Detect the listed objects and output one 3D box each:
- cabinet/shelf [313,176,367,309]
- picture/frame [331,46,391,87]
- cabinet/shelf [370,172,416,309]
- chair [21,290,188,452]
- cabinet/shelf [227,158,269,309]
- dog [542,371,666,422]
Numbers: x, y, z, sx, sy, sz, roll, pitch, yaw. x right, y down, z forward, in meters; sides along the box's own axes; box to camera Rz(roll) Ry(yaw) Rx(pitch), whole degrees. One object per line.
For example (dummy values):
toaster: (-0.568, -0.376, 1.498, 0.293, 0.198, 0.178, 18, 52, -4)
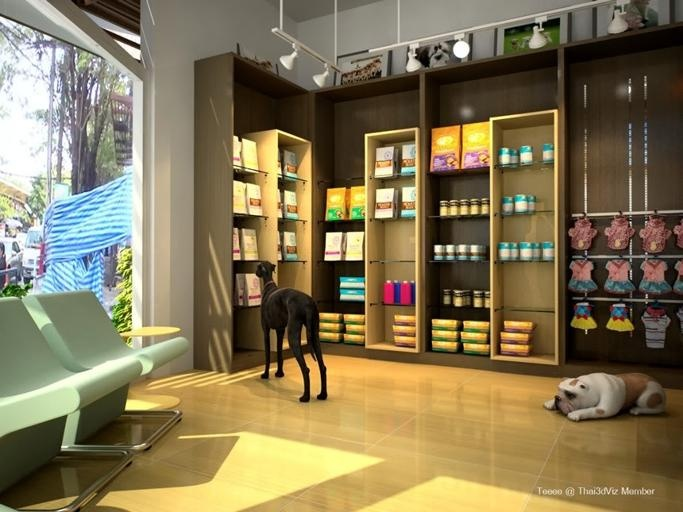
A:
cabinet/shelf: (-0.058, -0.136, 6.295, 0.725, 1.790, 0.521, -1, 4, -11)
picture/frame: (0.287, -2.483, 6.296, 0.811, 0.562, 0.086, -5, -17, 27)
cabinet/shelf: (0.624, -0.192, 5.885, 0.652, 1.726, 0.578, 1, 4, 8)
chair: (-1.801, 0.799, 3.910, 1.093, 1.232, 1.026, 0, -1, 12)
cabinet/shelf: (-1.015, -0.224, 5.377, 0.399, 1.566, 0.564, -1, 4, -10)
dog: (2.180, 1.120, 3.942, 0.754, 0.267, 0.397, -2, -8, -6)
